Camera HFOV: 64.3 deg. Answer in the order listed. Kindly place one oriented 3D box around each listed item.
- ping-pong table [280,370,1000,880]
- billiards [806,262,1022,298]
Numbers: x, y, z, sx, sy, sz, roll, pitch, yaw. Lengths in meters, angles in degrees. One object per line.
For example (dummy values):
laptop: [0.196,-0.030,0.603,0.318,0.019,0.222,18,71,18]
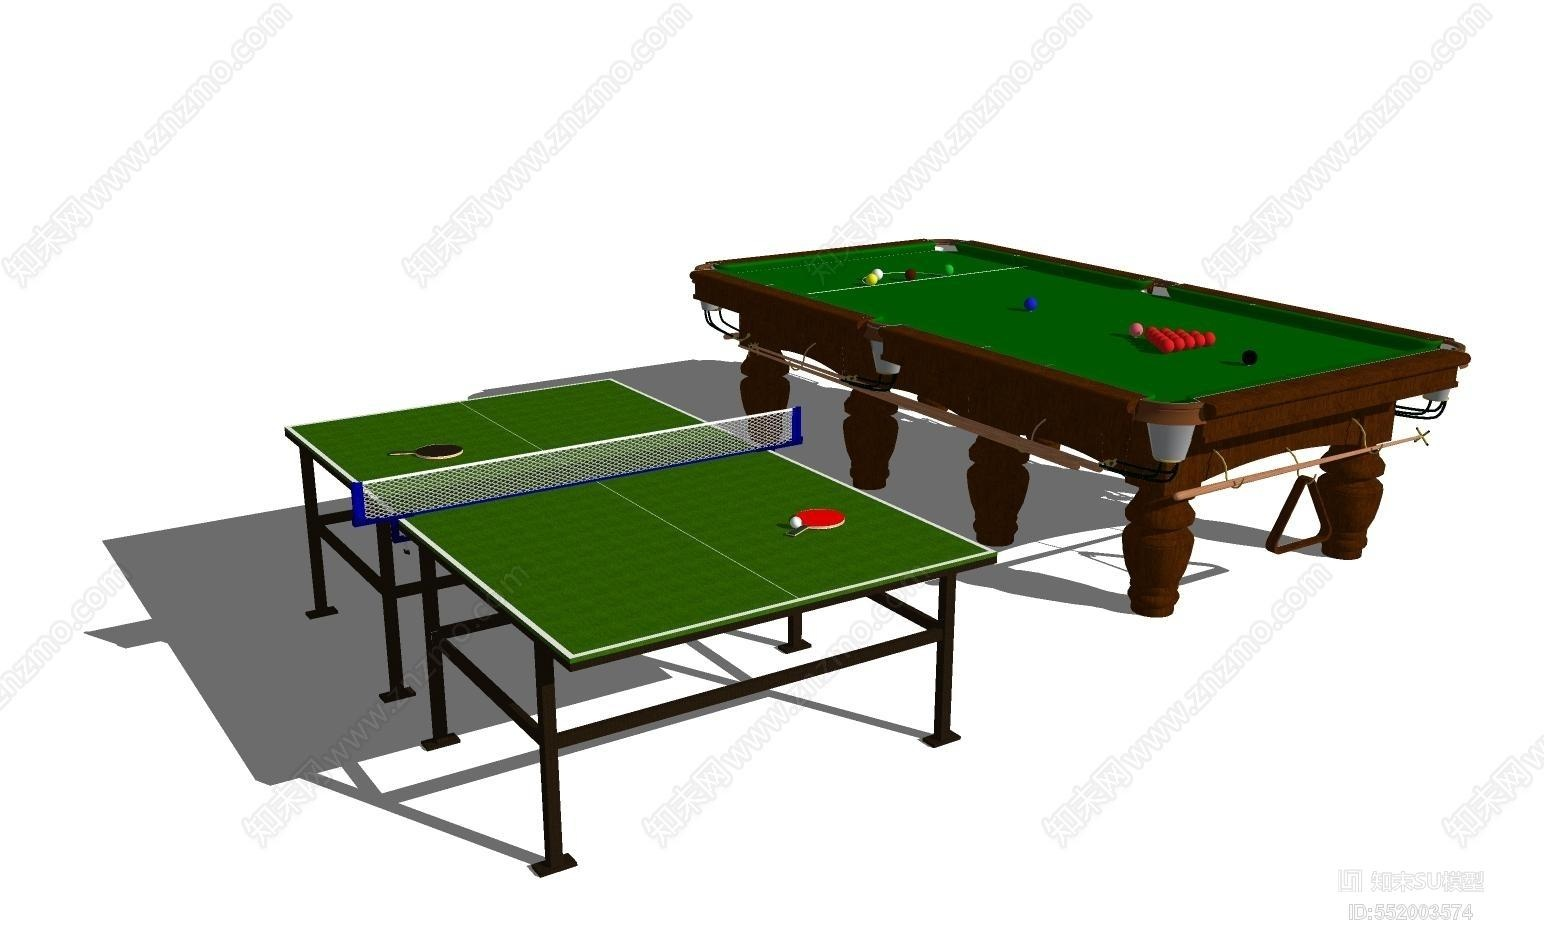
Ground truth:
ping-pong table: [-1.121,0.319,8.231,2.870,1.142,4.038,-18,30,-31]
billiards: [1.211,-1.729,10.844,1.652,0.133,0.909,-3,16,-9]
